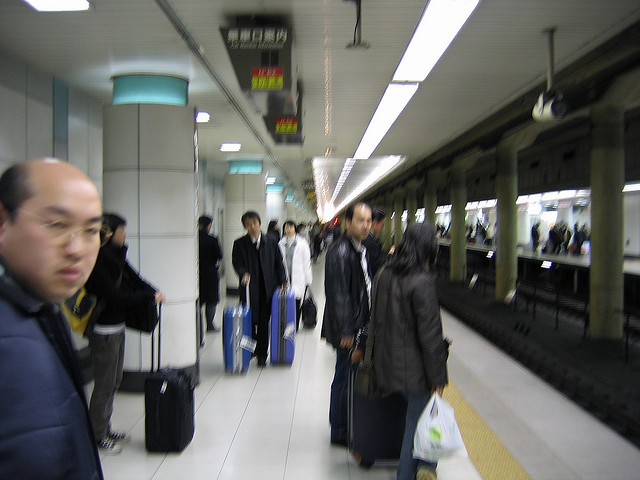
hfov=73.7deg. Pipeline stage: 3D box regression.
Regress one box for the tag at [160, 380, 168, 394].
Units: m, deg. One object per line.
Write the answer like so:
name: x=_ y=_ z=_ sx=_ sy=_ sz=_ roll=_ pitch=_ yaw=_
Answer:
tag: x=-1.245 y=1.176 z=3.426 sx=0.051 sy=0.102 sz=0.018 roll=-1 pitch=3 yaw=-31

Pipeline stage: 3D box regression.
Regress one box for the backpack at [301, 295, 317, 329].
backpack: x=-0.205 y=1.273 z=7.539 sx=0.257 sy=0.726 sz=0.475 roll=-2 pitch=-18 yaw=10

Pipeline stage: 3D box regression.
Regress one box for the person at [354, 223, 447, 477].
person: x=0.557 y=0.712 z=2.816 sx=0.558 sy=1.655 sz=0.363 roll=2 pitch=3 yaw=40

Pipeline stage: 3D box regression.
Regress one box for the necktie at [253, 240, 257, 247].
necktie: x=-0.834 y=0.033 z=5.500 sx=0.045 sy=0.092 sz=0.052 roll=2 pitch=-2 yaw=-8

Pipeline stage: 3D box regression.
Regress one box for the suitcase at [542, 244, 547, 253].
suitcase: x=4.246 y=0.160 z=8.114 sx=0.074 sy=0.166 sz=0.455 roll=2 pitch=2 yaw=27

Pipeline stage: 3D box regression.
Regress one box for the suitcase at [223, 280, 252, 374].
suitcase: x=-1.035 y=1.091 z=5.364 sx=0.347 sy=1.158 sz=0.305 roll=0 pitch=3 yaw=-15

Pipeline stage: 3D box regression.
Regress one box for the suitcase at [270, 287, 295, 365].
suitcase: x=-0.497 y=1.151 z=5.626 sx=0.293 sy=1.039 sz=0.269 roll=0 pitch=3 yaw=-9

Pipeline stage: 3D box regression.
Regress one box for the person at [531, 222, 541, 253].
person: x=4.152 y=-0.046 z=8.257 sx=0.123 sy=0.596 sz=1.183 roll=2 pitch=3 yaw=27

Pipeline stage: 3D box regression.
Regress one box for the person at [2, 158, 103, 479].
person: x=-0.602 y=0.193 z=0.961 sx=0.199 sy=0.774 sz=0.233 roll=-1 pitch=3 yaw=-28

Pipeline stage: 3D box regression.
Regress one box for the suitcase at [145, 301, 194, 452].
suitcase: x=-1.249 y=1.414 z=3.542 sx=0.367 sy=0.652 sz=0.234 roll=0 pitch=3 yaw=-9

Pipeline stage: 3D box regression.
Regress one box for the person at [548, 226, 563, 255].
person: x=3.986 y=0.005 z=7.281 sx=0.217 sy=0.495 sz=0.751 roll=2 pitch=3 yaw=29

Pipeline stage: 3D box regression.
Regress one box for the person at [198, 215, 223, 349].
person: x=-1.794 y=0.511 z=7.002 sx=0.332 sy=1.812 sz=0.657 roll=0 pitch=3 yaw=-14
